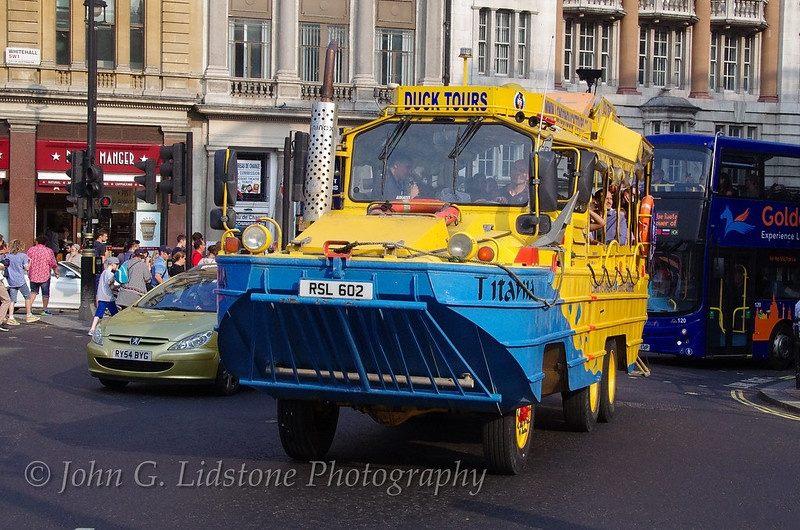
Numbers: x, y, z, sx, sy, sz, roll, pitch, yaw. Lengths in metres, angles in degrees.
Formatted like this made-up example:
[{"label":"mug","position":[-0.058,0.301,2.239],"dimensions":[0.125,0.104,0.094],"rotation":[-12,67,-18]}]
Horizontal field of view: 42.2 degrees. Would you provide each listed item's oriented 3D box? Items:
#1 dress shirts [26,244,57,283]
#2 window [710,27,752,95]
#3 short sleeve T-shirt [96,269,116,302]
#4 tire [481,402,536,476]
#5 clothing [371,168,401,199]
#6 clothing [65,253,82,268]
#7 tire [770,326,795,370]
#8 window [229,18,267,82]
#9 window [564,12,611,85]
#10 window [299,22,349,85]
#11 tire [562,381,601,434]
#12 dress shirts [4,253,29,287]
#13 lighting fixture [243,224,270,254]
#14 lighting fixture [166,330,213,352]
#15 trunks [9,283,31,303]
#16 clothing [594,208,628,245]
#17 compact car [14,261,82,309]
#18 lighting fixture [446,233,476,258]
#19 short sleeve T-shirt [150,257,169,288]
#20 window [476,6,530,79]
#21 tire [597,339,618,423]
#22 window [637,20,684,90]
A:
[{"label":"dress shirts","position":[-10.250,-0.077,29.317],"dimensions":[0.846,1.060,0.528],"rotation":[4,5,-14]},{"label":"window","position":[15.173,-9.135,46.922],"dimensions":[2.618,3.370,0.418],"rotation":[2,-2,-5]},{"label":"short sleeve T-shirt","position":[-7.255,0.506,25.382],"dimensions":[0.380,0.747,0.682],"rotation":[-2,14,-43]},{"label":"tire","position":[1.514,2.377,14.291],"dimensions":[0.331,1.116,1.043],"rotation":[1,-2,22]},{"label":"clothing","position":[-0.193,-1.168,15.295],"dimensions":[0.418,0.450,0.144],"rotation":[-4,-12,26]},{"label":"clothing","position":[-9.983,-0.138,31.448],"dimensions":[0.384,0.529,0.267],"rotation":[2,-2,-1]},{"label":"tire","position":[9.609,2.008,25.761],"dimensions":[0.358,1.135,0.990],"rotation":[-4,14,39]},{"label":"window","position":[-5.818,-8.318,39.833],"dimensions":[1.756,2.757,0.220],"rotation":[0,-21,-9]},{"label":"window","position":[8.193,-9.203,44.970],"dimensions":[2.125,2.776,0.253],"rotation":[8,32,18]},{"label":"window","position":[-2.976,-8.374,40.639],"dimensions":[2.214,2.863,0.252],"rotation":[2,-25,-12]},{"label":"tire","position":[2.944,2.253,16.605],"dimensions":[0.274,0.882,0.821],"rotation":[0,13,34]},{"label":"dress shirts","position":[-10.582,0.105,28.295],"dimensions":[0.799,1.172,0.444],"rotation":[1,-5,-15]},{"label":"lighting fixture","position":[-1.927,-0.354,13.898],"dimensions":[0.380,0.376,0.265],"rotation":[1,6,-9]},{"label":"lighting fixture","position":[-3.741,1.339,18.435],"dimensions":[0.761,0.326,0.139],"rotation":[0,6,-15]},{"label":"trunks","position":[-10.550,0.733,28.454],"dimensions":[0.523,0.544,0.210],"rotation":[-2,9,-27]},{"label":"clothing","position":[3.478,-0.629,16.947],"dimensions":[0.499,0.538,0.304],"rotation":[8,-7,-19]},{"label":"compact car","position":[-10.652,0.666,31.338],"dimensions":[1.836,0.945,1.120],"rotation":[-2,1,-1]},{"label":"lighting fixture","position":[0.812,-0.242,13.404],"dimensions":[0.222,0.235,0.088],"rotation":[33,2,8]},{"label":"short sleeve T-shirt","position":[-5.697,0.180,24.337],"dimensions":[0.335,0.568,0.674],"rotation":[-1,6,-8]},{"label":"window","position":[4.280,-9.205,42.908],"dimensions":[2.644,3.360,0.374],"rotation":[1,5,-13]},{"label":"tire","position":[3.576,1.896,17.842],"dimensions":[0.319,1.351,1.342],"rotation":[2,-36,17]},{"label":"window","position":[11.636,-9.290,45.914],"dimensions":[2.660,3.332,0.460],"rotation":[1,2,-9]}]
